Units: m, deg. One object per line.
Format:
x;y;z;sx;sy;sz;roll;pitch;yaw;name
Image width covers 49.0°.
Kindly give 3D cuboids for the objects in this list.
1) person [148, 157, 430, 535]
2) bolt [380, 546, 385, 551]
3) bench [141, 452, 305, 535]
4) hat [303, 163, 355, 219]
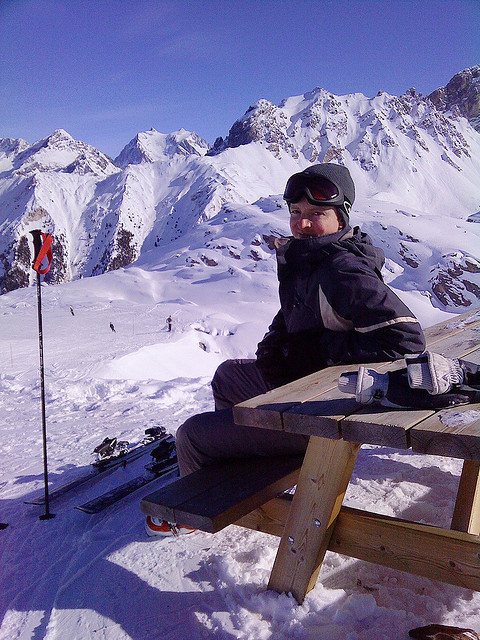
0.223;0.185;2.701;1.295;1.871;1.002;3;9;11;person
0.529;0.847;1.945;0.014;0.004;0.017;6;43;9;bolt
-0.024;0.682;2.117;0.484;0.117;0.505;0;10;31;bench
0.422;-0.664;2.703;0.225;0.259;0.300;-9;9;17;hat
